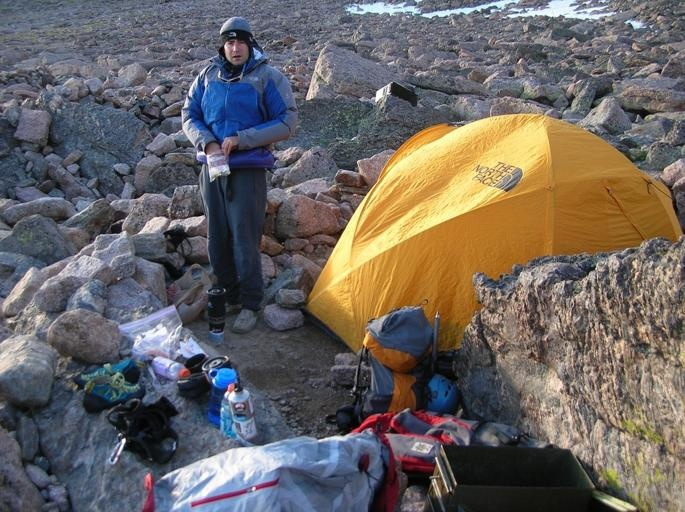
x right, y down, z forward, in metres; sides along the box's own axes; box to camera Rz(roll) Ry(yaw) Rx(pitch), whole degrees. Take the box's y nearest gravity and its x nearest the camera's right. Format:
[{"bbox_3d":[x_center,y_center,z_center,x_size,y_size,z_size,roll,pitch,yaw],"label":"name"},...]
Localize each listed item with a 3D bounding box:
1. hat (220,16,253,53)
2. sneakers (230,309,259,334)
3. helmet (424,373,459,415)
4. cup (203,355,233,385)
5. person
[{"bbox_3d":[-0.987,-2.064,5.618,0.272,0.244,0.299,0,30,-1],"label":"hat"},{"bbox_3d":[-0.977,0.652,6.148,0.151,0.129,0.313,4,11,9],"label":"sneakers"},{"bbox_3d":[0.817,1.169,5.172,0.225,0.285,0.304,11,37,-22],"label":"helmet"},{"bbox_3d":[-1.008,0.875,4.884,0.187,0.209,0.191,-4,22,1],"label":"cup"},{"bbox_3d":[-0.940,-0.765,5.923,0.945,2.809,0.973,-14,31,-22],"label":"person"}]
